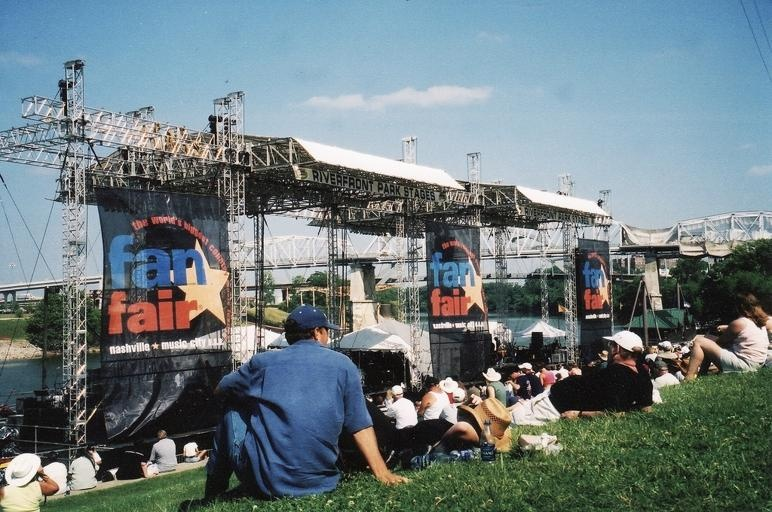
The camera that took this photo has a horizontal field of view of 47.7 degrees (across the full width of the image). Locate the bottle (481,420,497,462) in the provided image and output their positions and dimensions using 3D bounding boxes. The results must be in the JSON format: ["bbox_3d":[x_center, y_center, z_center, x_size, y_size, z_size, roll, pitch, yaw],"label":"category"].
[{"bbox_3d":[2.171,3.981,18.873,0.325,0.858,0.335,-8,-2,0],"label":"bottle"}]

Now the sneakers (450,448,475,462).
[{"bbox_3d":[1.570,4.310,18.961,0.658,0.198,0.258,-7,12,0],"label":"sneakers"}]

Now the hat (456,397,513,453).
[{"bbox_3d":[2.301,3.609,19.232,0.467,1.180,1.068,-53,-16,20],"label":"hat"}]

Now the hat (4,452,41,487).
[{"bbox_3d":[-8.517,5.032,20.699,0.722,0.748,0.212,16,-35,10],"label":"hat"}]

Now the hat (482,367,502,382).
[{"bbox_3d":[3.283,3.691,27.072,0.611,0.262,0.676,-8,-7,1],"label":"hat"}]
